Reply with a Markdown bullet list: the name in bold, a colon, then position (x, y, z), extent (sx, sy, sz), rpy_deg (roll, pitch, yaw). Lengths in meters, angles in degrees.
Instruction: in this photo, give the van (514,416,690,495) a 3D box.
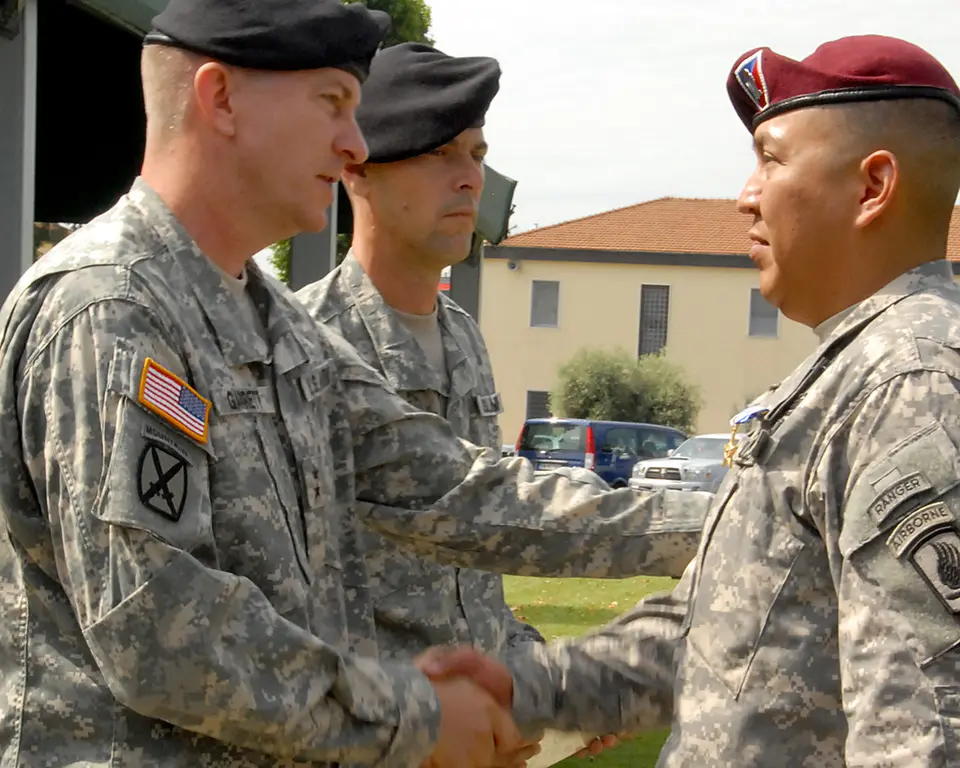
- **van**: position (1.848, 1.060, 22.496), extent (2.044, 0.779, 1.085), rpy_deg (-3, 3, -41)
